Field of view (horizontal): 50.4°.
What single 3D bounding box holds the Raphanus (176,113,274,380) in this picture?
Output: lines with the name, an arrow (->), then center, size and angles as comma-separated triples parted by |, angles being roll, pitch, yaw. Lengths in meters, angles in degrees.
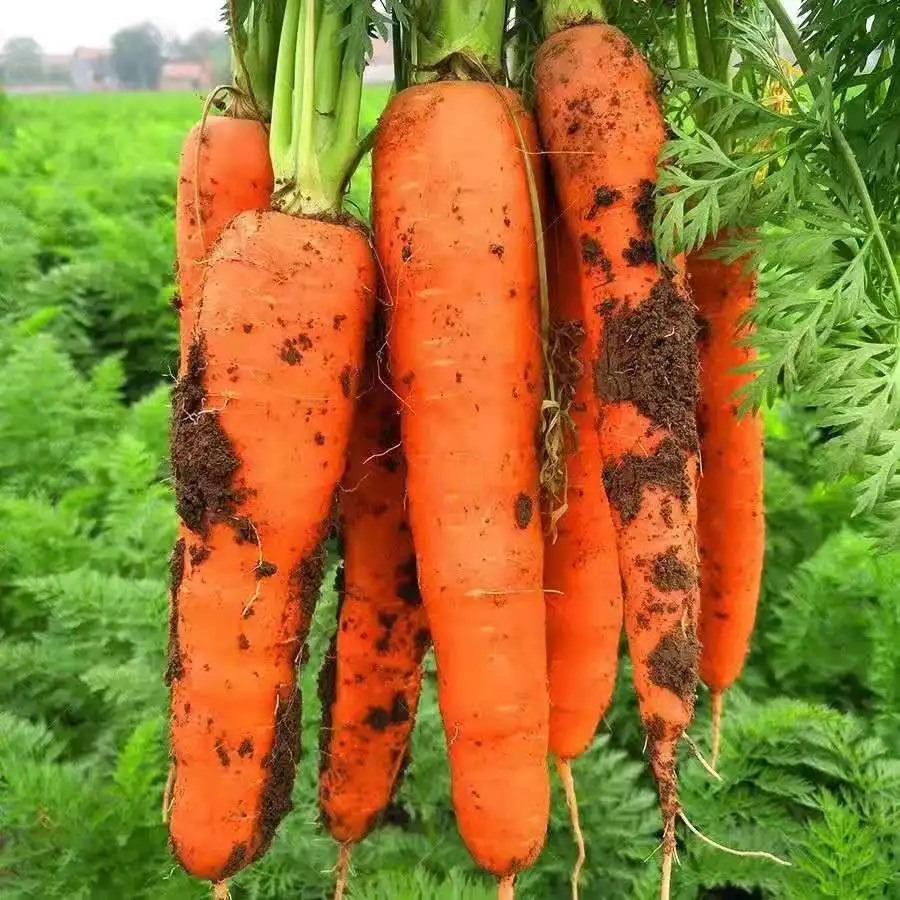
Raphanus -> -0.469, -0.421, 2.052 | 0.180, 0.551, 0.171 | 4, 3, -11

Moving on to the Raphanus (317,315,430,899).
Raphanus -> -0.185, 0.353, 2.124 | 0.209, 1.290, 0.220 | 7, 12, 30

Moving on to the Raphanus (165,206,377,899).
Raphanus -> -0.327, 0.198, 1.976 | 0.381, 1.293, 0.356 | 3, 6, -1

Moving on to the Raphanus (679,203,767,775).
Raphanus -> 0.650, 0.060, 2.189 | 0.219, 1.407, 0.209 | -2, 4, -24
